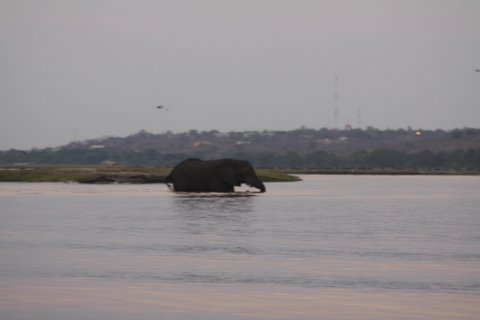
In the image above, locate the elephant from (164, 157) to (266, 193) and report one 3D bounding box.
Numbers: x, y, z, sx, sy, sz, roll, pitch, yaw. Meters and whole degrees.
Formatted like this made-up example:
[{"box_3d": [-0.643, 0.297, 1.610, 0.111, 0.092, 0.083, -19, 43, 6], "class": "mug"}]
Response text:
[{"box_3d": [-2.438, 1.244, 93.527, 9.298, 4.017, 3.480, -2, 7, 6], "class": "elephant"}]
